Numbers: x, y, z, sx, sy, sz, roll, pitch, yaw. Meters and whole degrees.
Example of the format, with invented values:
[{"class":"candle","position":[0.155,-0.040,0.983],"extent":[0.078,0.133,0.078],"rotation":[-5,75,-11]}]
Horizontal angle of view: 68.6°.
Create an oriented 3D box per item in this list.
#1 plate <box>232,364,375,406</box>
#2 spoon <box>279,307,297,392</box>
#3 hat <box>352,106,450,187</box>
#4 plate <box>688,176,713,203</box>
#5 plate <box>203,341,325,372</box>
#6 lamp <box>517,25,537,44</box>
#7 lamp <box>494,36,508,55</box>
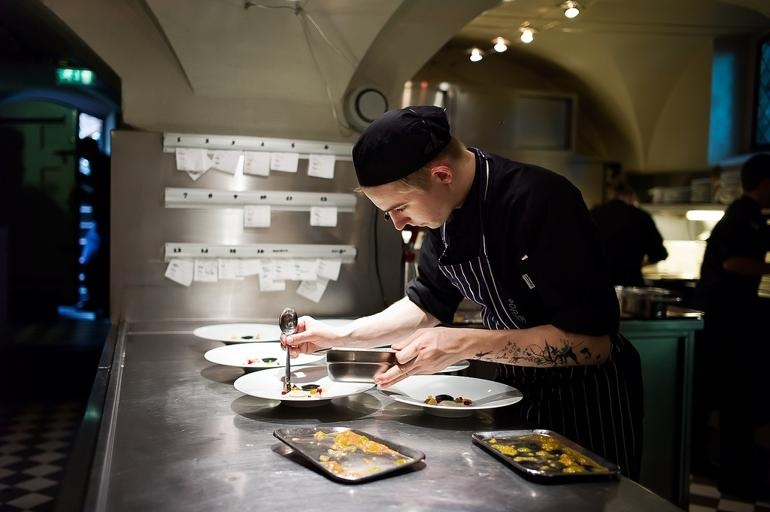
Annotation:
[{"class":"plate","position":[-0.349,0.526,2.284],"extent":[0.258,0.043,0.262],"rotation":[3,3,36]},{"class":"spoon","position":[-0.403,0.383,2.377],"extent":[0.070,0.336,0.049],"rotation":[-16,-38,23]},{"class":"hat","position":[0.104,-0.388,2.217],"extent":[0.364,0.261,0.187],"rotation":[-36,-36,-1]},{"class":"plate","position":[2.102,-0.440,3.747],"extent":[0.159,0.159,0.155],"rotation":[1,1,-45]},{"class":"plate","position":[-0.579,0.461,2.600],"extent":[0.251,0.035,0.249],"rotation":[4,2,30]},{"class":"lamp","position":[0.995,-1.545,3.947],"extent":[0.087,0.089,0.158],"rotation":[14,16,14]},{"class":"lamp","position":[0.815,-1.479,3.955],"extent":[0.095,0.088,0.028],"rotation":[10,8,-5]}]
